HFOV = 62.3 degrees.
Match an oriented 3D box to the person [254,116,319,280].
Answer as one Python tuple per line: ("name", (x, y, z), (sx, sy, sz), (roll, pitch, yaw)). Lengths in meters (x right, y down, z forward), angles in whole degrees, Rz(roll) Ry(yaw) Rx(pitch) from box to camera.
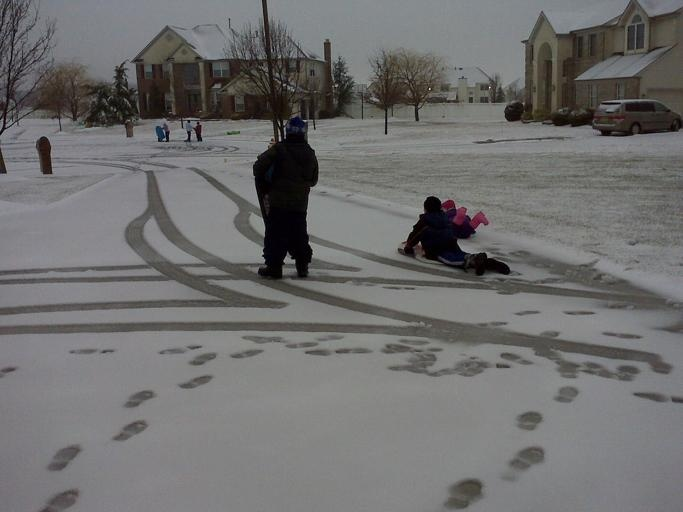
("person", (-0.729, -0.756, 7.525), (0.801, 2.067, 0.426), (-3, 13, -9))

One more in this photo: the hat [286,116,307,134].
("hat", (-0.612, -1.722, 7.549), (0.241, 0.228, 0.262), (4, 19, -7))

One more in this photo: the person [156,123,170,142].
("person", (-12.590, -8.732, 39.717), (0.746, 1.235, 1.986), (-6, 16, -20))

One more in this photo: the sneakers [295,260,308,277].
("sneakers", (-0.528, 0.167, 7.640), (0.180, 0.320, 0.180), (-2, -1, 3))

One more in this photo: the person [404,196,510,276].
("person", (1.643, -0.254, 8.184), (0.746, 0.782, 1.561), (-15, 30, -28))
